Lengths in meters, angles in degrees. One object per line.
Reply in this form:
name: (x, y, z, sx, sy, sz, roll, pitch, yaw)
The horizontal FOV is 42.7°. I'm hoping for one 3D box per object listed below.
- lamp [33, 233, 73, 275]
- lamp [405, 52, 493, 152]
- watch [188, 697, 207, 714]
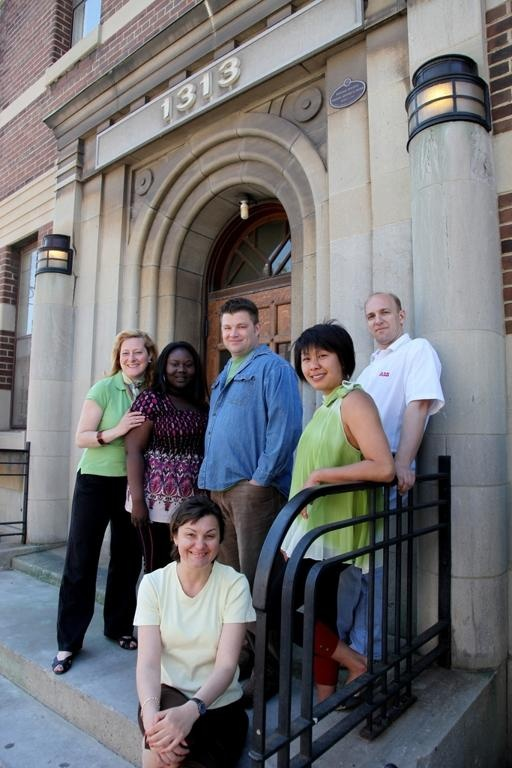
lamp: (-1.878, -1.198, 6.125, 0.325, 0.390, 0.174, -1, -4, -9)
lamp: (0.945, -1.358, 3.117, 0.287, 0.291, 0.290, 7, 9, 17)
watch: (-0.180, 1.032, 2.108, 0.040, 0.054, 0.059, -16, -5, -40)
